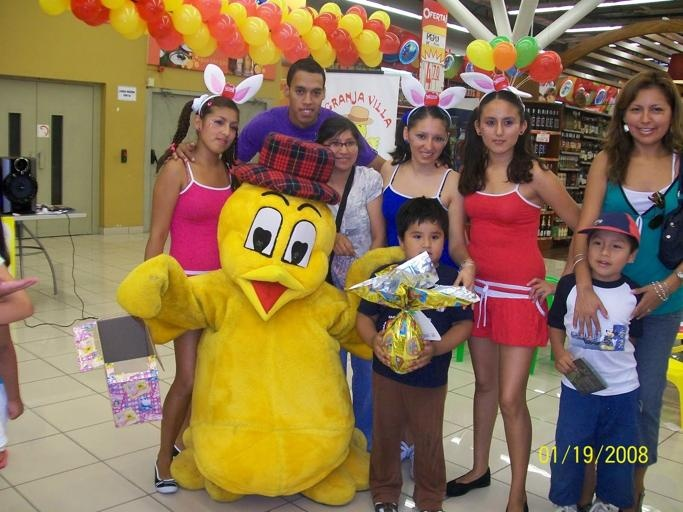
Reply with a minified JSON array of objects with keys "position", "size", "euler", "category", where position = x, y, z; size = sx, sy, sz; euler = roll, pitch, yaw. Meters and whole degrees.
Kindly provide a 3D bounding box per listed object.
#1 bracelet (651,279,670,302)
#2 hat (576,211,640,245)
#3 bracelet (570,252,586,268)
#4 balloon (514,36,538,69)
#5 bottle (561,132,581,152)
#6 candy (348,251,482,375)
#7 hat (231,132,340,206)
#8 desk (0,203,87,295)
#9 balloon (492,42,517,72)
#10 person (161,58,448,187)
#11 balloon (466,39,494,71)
[{"position":[1.391,0.151,2.195],"size":[0.026,0.080,0.072],"euler":[-24,-1,30],"category":"bracelet"},{"position":[1.181,-0.100,2.204],"size":[0.197,0.109,0.144],"euler":[11,-2,-2],"category":"hat"},{"position":[1.089,0.016,2.296],"size":[0.012,0.044,0.046],"euler":[30,53,-5],"category":"bracelet"},{"position":[1.881,-2.048,5.083],"size":[0.221,0.303,0.349],"euler":[6,12,19],"category":"balloon"},{"position":[4.611,-2.249,10.074],"size":[0.397,0.511,0.158],"euler":[-2,4,-35],"category":"bottle"},{"position":[0.254,0.235,2.120],"size":[0.463,0.461,0.305],"euler":[11,4,3],"category":"candy"},{"position":[-0.246,-0.391,2.316],"size":[0.352,0.187,0.366],"euler":[20,13,11],"category":"hat"},{"position":[-3.569,-0.070,5.949],"size":[1.081,1.008,1.106],"euler":[-6,10,-41],"category":"desk"},{"position":[1.560,-1.888,4.803],"size":[0.210,0.285,0.256],"euler":[6,12,19],"category":"balloon"},{"position":[-0.251,-0.789,3.192],"size":[1.718,0.917,0.449],"euler":[-1,33,-2],"category":"person"},{"position":[1.377,-1.959,4.914],"size":[0.267,0.286,0.345],"euler":[6,12,15],"category":"balloon"}]
